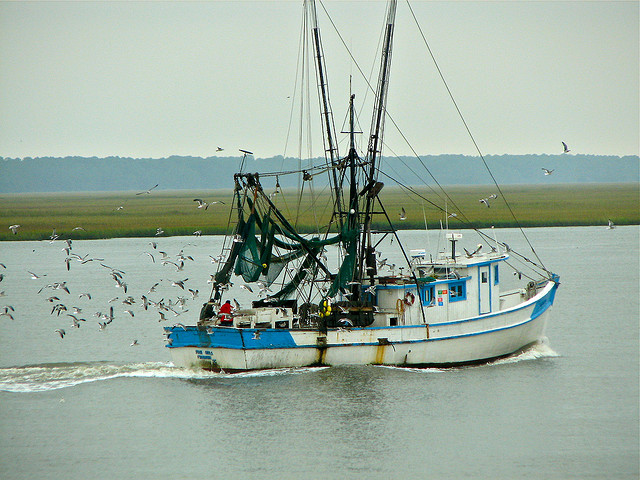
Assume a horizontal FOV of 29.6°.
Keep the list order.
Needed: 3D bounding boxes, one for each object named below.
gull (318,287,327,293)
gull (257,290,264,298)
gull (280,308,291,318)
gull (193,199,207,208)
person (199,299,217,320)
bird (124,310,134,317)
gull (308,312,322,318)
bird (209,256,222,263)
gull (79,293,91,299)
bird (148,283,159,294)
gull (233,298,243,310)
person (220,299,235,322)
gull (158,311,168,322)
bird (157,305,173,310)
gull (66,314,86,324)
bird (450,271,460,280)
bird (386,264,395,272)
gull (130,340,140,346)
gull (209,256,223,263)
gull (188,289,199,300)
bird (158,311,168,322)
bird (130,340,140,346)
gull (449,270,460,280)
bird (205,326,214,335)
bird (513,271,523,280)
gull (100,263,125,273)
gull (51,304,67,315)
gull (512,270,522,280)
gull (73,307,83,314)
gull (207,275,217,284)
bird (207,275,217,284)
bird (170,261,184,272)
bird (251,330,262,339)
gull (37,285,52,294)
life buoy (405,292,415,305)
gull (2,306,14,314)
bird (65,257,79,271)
[{"bbox_3d":[0.153,2.479,61.131,0.397,0.328,0.295,-27,-7,25],"label":"gull"},{"bbox_3d":[-2.699,2.518,56.895,0.204,0.334,0.580,4,5,-9],"label":"gull"},{"bbox_3d":[-1.651,3.429,56.751,0.532,0.360,0.157,-13,-4,38],"label":"gull"},{"bbox_3d":[-6.016,-1.824,61.453,0.561,0.213,0.517,-22,39,-15],"label":"gull"},{"bbox_3d":[-5.275,3.271,57.217,0.803,0.746,0.505,-10,-4,0],"label":"person"},{"bbox_3d":[-10.878,4.181,68.892,0.612,0.181,1.781,12,-9,-32],"label":"bird"},{"bbox_3d":[-0.248,3.534,56.640,0.463,0.208,0.462,-8,-5,-13],"label":"gull"},{"bbox_3d":[-6.128,1.128,71.113,1.001,0.348,0.249,9,40,-16],"label":"bird"},{"bbox_3d":[-13.316,3.203,68.771,0.909,0.288,0.822,0,-1,-2],"label":"gull"},{"bbox_3d":[-9.619,2.814,69.899,0.554,0.128,0.841,-15,-11,-22],"label":"bird"},{"bbox_3d":[-3.938,3.162,57.808,0.552,0.256,0.518,14,21,-13],"label":"gull"},{"bbox_3d":[-4.419,3.382,57.496,0.952,0.901,0.685,7,17,27],"label":"person"},{"bbox_3d":[-8.533,4.183,65.802,0.608,0.158,0.901,14,-37,9],"label":"gull"},{"bbox_3d":[-7.706,3.351,60.181,0.501,0.206,0.482,19,2,-36],"label":"bird"},{"bbox_3d":[-13.281,4.323,66.095,0.467,0.200,0.801,5,13,-44],"label":"gull"},{"bbox_3d":[6.539,1.707,58.368,0.337,0.418,0.148,-28,-15,-3],"label":"bird"},{"bbox_3d":[3.510,1.401,59.666,0.360,0.258,0.286,-1,2,6],"label":"bird"},{"bbox_3d":[-9.350,5.216,61.317,0.598,0.241,0.564,2,7,23],"label":"gull"},{"bbox_3d":[-6.080,1.130,70.701,0.578,0.234,0.525,5,10,-21],"label":"gull"},{"bbox_3d":[-6.374,2.678,59.653,0.735,0.419,0.958,1,-1,1],"label":"gull"},{"bbox_3d":[-8.502,4.168,65.680,0.581,0.137,0.836,11,-26,6],"label":"bird"},{"bbox_3d":[-9.372,5.226,61.351,0.452,0.283,0.570,9,4,27],"label":"bird"},{"bbox_3d":[6.546,1.685,58.329,0.369,0.417,0.131,15,5,25],"label":"gull"},{"bbox_3d":[-5.059,4.146,55.703,0.326,0.291,0.293,-1,5,11],"label":"bird"},{"bbox_3d":[12.119,2.211,74.445,0.412,0.212,0.599,25,3,43],"label":"bird"},{"bbox_3d":[-13.837,1.885,81.258,2.086,0.274,0.270,13,10,-31],"label":"gull"},{"bbox_3d":[-12.788,3.278,59.090,0.764,0.282,0.681,-8,-1,4],"label":"gull"},{"bbox_3d":[12.252,2.174,75.412,0.464,0.201,0.574,24,11,38],"label":"gull"},{"bbox_3d":[-13.156,3.830,65.860,0.453,0.291,0.613,12,-3,23],"label":"gull"},{"bbox_3d":[-5.085,1.866,56.823,0.388,0.222,0.499,1,-5,1],"label":"gull"},{"bbox_3d":[-5.075,1.862,56.825,0.394,0.224,0.508,2,-6,-2],"label":"bird"},{"bbox_3d":[-8.784,1.635,74.579,0.208,0.387,0.831,34,-8,7],"label":"bird"},{"bbox_3d":[-2.913,4.380,55.823,0.393,0.327,0.158,-10,-4,-5],"label":"bird"},{"bbox_3d":[-17.167,3.099,75.685,1.216,0.152,0.277,-26,-32,1],"label":"gull"},{"bbox_3d":[4.255,2.772,57.323,0.619,0.578,0.209,-1,-3,4],"label":"life buoy"},{"bbox_3d":[-16.028,3.585,62.271,0.616,0.367,0.880,3,2,-29],"label":"gull"},{"bbox_3d":[-16.745,1.652,81.702,0.504,0.990,1.132,1,2,-14],"label":"bird"}]
